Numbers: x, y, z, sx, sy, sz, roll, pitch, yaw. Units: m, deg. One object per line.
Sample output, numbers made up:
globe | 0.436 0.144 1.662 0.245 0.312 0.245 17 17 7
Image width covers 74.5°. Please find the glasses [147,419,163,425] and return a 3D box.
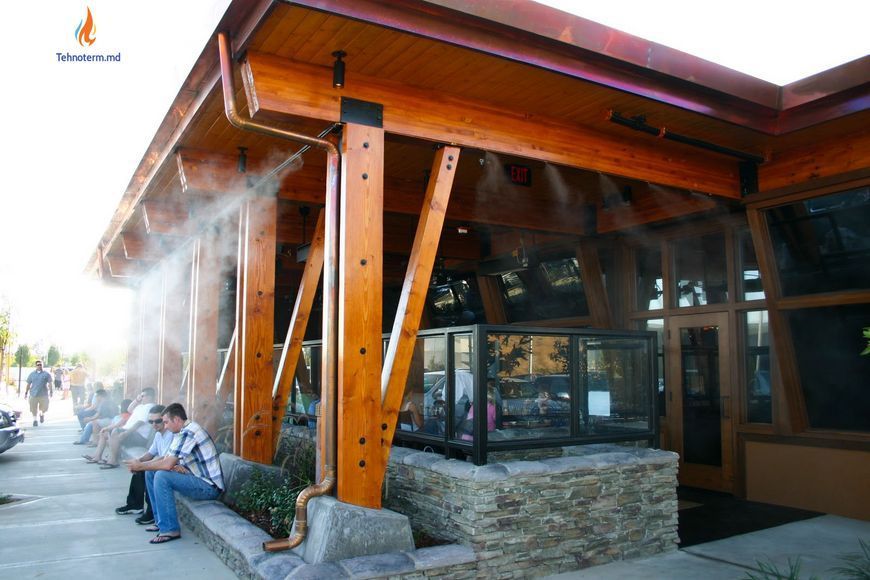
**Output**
glasses | -4.046 1.903 8.321 0.164 0.048 0.164 3 -9 -14

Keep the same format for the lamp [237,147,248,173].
lamp | -2.787 -1.849 8.262 0.121 0.338 0.366 1 -4 -19

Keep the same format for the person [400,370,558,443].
person | 0.734 1.315 6.674 1.731 0.807 0.701 0 -3 -1

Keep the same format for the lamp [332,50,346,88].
lamp | -1.017 -2.316 6.074 0.136 0.298 0.323 0 -4 -9

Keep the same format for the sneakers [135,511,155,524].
sneakers | -3.923 3.113 7.834 0.111 0.111 0.298 -9 -16 40

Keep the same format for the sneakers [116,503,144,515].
sneakers | -4.416 3.154 8.284 0.388 0.157 0.141 15 -18 -29

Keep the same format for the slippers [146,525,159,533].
slippers | -3.694 3.108 7.483 0.134 0.095 0.252 6 -15 -24

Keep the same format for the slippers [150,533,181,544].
slippers | -3.393 3.098 7.176 0.260 0.058 0.117 12 -15 -36

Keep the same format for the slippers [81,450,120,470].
slippers | -6.910 3.477 11.710 1.063 0.401 0.322 -18 -24 38
